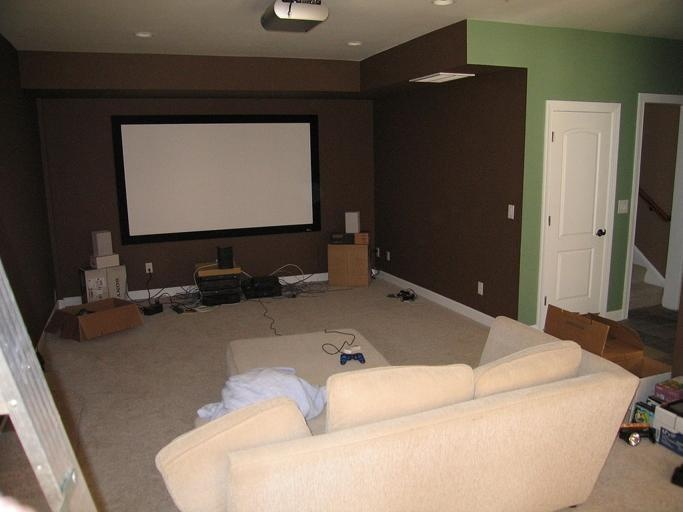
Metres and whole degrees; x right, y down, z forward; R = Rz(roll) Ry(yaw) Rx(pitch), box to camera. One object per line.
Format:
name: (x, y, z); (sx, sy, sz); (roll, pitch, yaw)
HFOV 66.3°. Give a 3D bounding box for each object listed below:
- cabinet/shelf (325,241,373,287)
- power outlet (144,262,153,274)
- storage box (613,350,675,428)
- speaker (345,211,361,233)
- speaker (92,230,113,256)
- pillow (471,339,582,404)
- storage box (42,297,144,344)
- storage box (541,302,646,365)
cabinet/shelf: (0.097, 0.122, 7.440); (0.583, 0.638, 0.204); (0, 5, 1)
power outlet: (-2.582, 0.156, 6.957); (0.121, 0.181, 0.085); (-6, 13, -36)
storage box: (2.037, 0.923, 3.527); (0.463, 0.360, 0.257); (-11, 15, -23)
speaker: (0.152, -0.491, 7.562); (0.248, 0.396, 0.263); (-1, 8, 1)
speaker: (-2.922, -0.152, 6.359); (0.208, 0.295, 0.135); (-9, 16, -28)
pillow: (0.993, 0.606, 2.718); (0.335, 0.136, 0.341); (-15, 8, -4)
storage box: (-2.615, 0.700, 5.643); (0.590, 0.215, 0.551); (-5, 9, -37)
storage box: (1.967, 0.716, 4.020); (0.440, 0.420, 0.632); (-5, 15, -18)
